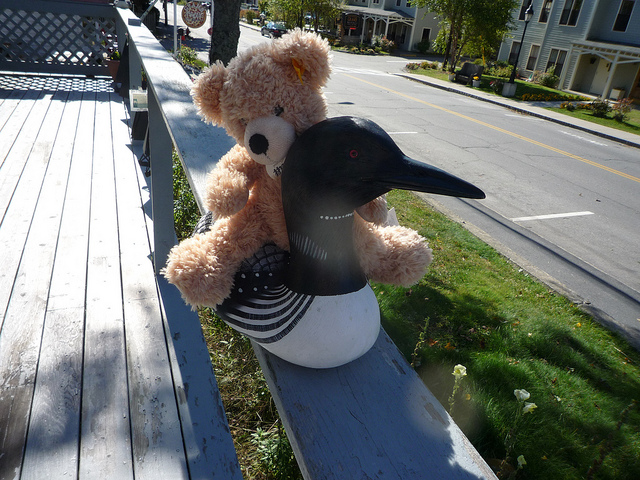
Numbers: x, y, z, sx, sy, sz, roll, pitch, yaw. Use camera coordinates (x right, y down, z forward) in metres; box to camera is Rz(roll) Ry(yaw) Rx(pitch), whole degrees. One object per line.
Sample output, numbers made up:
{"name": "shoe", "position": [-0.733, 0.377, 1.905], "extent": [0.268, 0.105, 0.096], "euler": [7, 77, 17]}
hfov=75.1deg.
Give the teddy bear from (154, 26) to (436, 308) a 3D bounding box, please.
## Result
{"name": "teddy bear", "position": [-0.273, -0.301, 1.654], "extent": [0.540, 1.026, 0.595], "euler": [9, 24, -2]}
